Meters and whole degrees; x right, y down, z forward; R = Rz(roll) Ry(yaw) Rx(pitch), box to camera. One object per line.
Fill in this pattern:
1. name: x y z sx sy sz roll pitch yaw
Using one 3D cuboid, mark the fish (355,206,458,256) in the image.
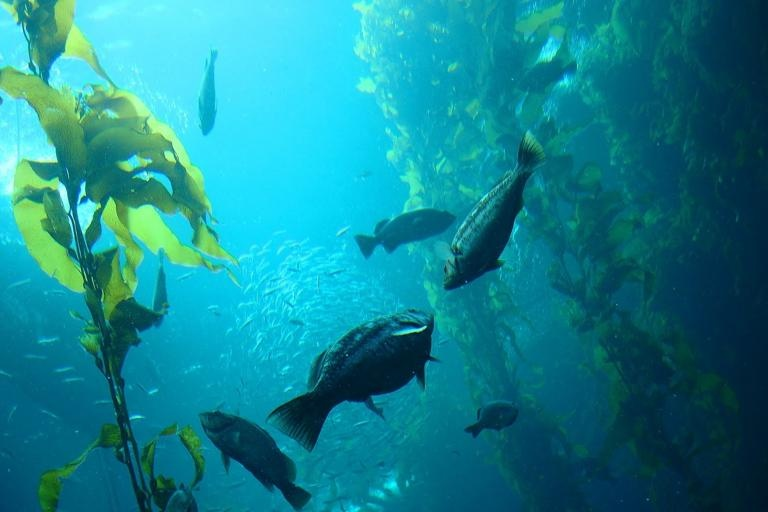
1. fish: 0.534 -0.503 16.905 2.141 0.917 0.552 -20 27 7
